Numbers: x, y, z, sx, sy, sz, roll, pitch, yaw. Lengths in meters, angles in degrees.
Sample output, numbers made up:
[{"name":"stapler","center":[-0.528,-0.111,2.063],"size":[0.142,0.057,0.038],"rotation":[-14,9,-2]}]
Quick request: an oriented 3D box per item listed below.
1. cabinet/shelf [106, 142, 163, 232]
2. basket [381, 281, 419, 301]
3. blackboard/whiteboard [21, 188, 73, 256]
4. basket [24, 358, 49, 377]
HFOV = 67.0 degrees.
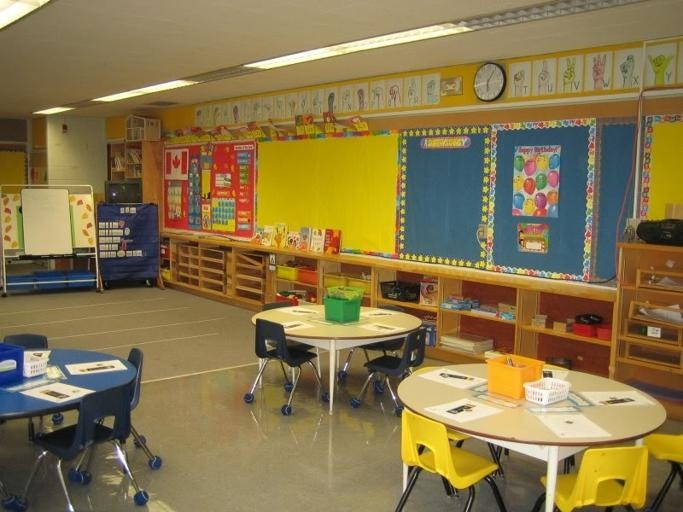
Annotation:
[{"name":"cabinet/shelf","center":[-4.474,-1.675,12.696],"size":[0.698,2.257,2.214],"rotation":[-4,9,-41]},{"name":"basket","center":[0.794,0.482,7.283],"size":[0.392,0.172,0.311],"rotation":[4,4,44]},{"name":"blackboard/whiteboard","center":[-5.801,-0.678,10.183],"size":[0.848,1.323,0.320],"rotation":[-5,10,-30]},{"name":"basket","center":[-2.288,0.832,3.894],"size":[0.110,0.136,0.198],"rotation":[2,0,28]}]
